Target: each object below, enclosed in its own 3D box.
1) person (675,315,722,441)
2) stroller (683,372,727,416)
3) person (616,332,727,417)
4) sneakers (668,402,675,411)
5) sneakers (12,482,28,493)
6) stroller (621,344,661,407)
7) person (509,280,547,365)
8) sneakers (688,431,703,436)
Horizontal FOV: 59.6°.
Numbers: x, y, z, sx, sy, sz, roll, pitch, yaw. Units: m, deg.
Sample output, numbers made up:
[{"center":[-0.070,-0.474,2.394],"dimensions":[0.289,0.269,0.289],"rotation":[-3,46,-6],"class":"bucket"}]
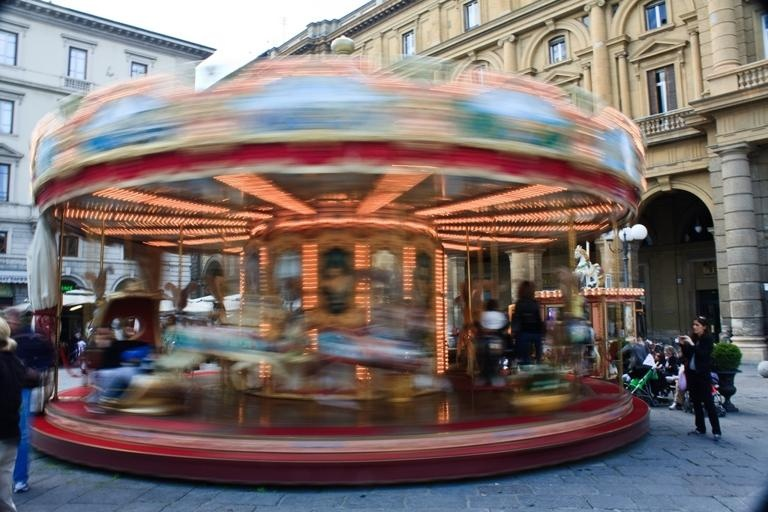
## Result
[{"center":[5.408,2.038,11.506],"dimensions":[0.744,1.954,0.720],"rotation":[11,-14,-18],"class":"person"},{"center":[6.514,2.704,13.206],"dimensions":[0.836,0.781,1.384],"rotation":[-1,-10,9],"class":"stroller"},{"center":[6.014,2.545,14.506],"dimensions":[2.367,0.981,1.371],"rotation":[1,-5,7],"class":"person"},{"center":[5.975,3.072,13.835],"dimensions":[0.147,0.131,0.288],"rotation":[-3,-7,22],"class":"sneakers"},{"center":[-4.999,3.167,9.204],"dimensions":[0.193,0.160,0.118],"rotation":[4,-10,-25],"class":"sneakers"},{"center":[5.510,2.504,14.355],"dimensions":[0.726,1.293,0.839],"rotation":[-3,-8,19],"class":"stroller"},{"center":[2.707,1.218,12.526],"dimensions":[0.545,1.559,0.688],"rotation":[-1,-8,4],"class":"person"},{"center":[5.367,3.028,11.516],"dimensions":[0.083,0.079,0.215],"rotation":[3,-3,-34],"class":"sneakers"}]
